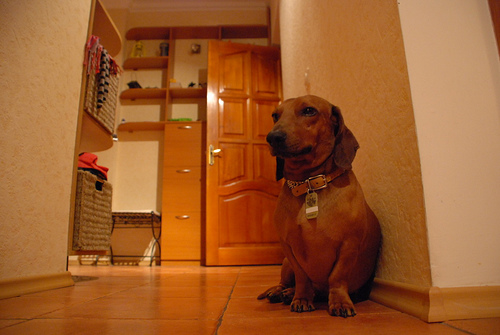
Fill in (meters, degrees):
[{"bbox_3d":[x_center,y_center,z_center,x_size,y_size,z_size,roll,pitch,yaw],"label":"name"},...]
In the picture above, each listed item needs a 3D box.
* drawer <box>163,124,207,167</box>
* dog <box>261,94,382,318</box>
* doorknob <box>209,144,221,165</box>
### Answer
[{"bbox_3d":[-0.706,-0.211,4.829,0.701,0.678,0.474,0,-10,0],"label":"drawer"},{"bbox_3d":[0.305,0.152,1.540,0.444,0.886,0.402,0,10,19],"label":"dog"},{"bbox_3d":[-0.386,-0.134,4.003,0.121,0.201,0.075,-6,9,-18],"label":"doorknob"}]
